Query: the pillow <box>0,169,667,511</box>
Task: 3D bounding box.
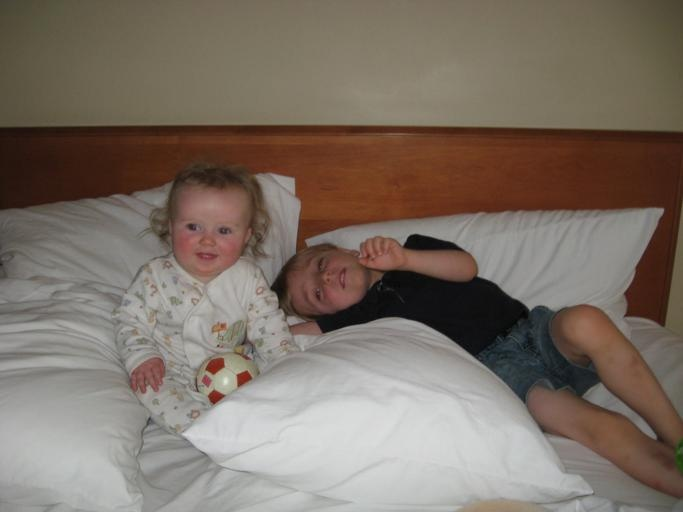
[{"bbox_3d":[-0.259,0.450,1.927,1.838,0.454,0.967,1,45,5],"label":"pillow"}]
